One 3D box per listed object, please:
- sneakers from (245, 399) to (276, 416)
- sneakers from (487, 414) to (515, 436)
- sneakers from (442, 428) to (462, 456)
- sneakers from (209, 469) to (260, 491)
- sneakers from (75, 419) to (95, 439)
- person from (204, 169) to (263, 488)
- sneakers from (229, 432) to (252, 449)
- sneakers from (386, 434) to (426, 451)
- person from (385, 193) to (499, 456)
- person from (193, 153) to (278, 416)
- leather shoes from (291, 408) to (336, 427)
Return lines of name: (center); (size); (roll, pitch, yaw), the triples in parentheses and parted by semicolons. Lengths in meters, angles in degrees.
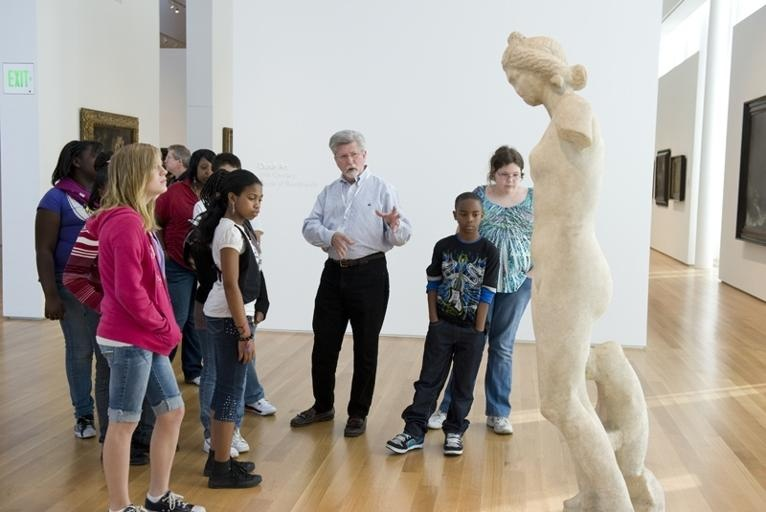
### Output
sneakers: (-1.054, 1.326, 4.844); (0.297, 0.161, 0.119); (2, -1, 7)
sneakers: (0.977, 1.399, 4.549); (0.095, 0.127, 0.249); (1, -3, -20)
sneakers: (0.534, 1.442, 4.209); (0.132, 0.146, 0.120); (2, 13, 5)
sneakers: (-1.032, 1.565, 3.888); (0.358, 0.172, 0.145); (0, 3, -8)
sneakers: (-2.360, 1.354, 4.374); (0.083, 0.123, 0.246); (3, 8, -9)
person: (-1.028, 0.510, 3.783); (0.422, 2.169, 0.466); (-2, 12, -12)
sneakers: (-1.105, 1.431, 4.233); (0.174, 0.087, 0.067); (10, 8, 27)
sneakers: (0.168, 1.438, 4.266); (0.311, 0.157, 0.115); (9, -7, -29)
person: (0.526, 0.500, 4.244); (0.821, 1.964, 0.563); (-1, 12, -7)
person: (-1.052, 0.433, 4.248); (0.566, 2.404, 0.744); (12, 30, 4)
leather shoes: (-0.594, 1.354, 4.688); (0.368, 0.162, 0.136); (1, 1, -20)
